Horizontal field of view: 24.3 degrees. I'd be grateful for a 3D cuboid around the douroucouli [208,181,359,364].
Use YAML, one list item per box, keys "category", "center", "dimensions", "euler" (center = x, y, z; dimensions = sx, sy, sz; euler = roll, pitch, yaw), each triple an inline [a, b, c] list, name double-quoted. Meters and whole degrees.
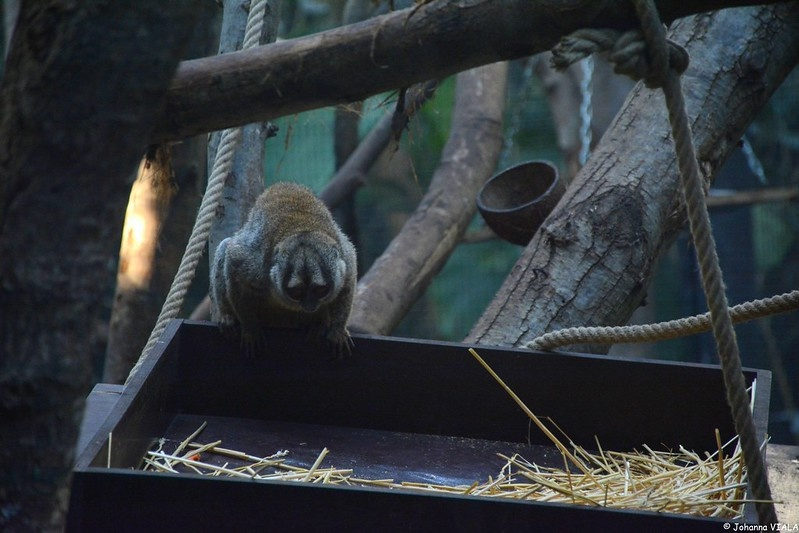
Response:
- category: "douroucouli"
  center: [-0.881, -0.037, 14.688]
  dimensions: [1.159, 1.131, 1.162]
  euler: [2, 9, -7]
